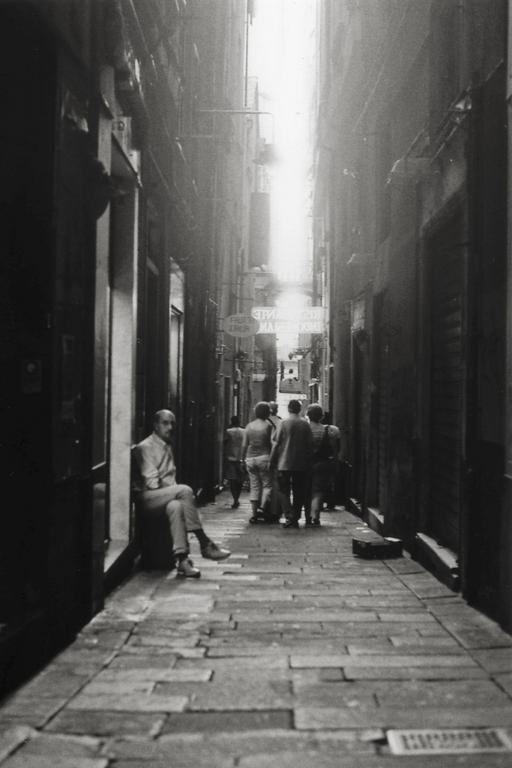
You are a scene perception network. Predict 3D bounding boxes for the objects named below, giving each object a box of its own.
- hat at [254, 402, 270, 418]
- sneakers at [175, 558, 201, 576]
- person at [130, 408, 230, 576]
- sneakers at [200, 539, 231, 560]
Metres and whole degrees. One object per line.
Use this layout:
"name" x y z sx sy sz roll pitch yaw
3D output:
"hat" 0.083 0.364 12.137 0.139 0.275 0.210 3 10 15
"sneakers" -0.529 1.438 6.684 0.084 0.162 0.277 1 -11 -29
"person" -0.655 0.873 7.082 0.697 1.324 1.041 0 -2 -1
"sneakers" -0.362 1.489 7.633 0.195 0.151 0.155 0 -3 9
